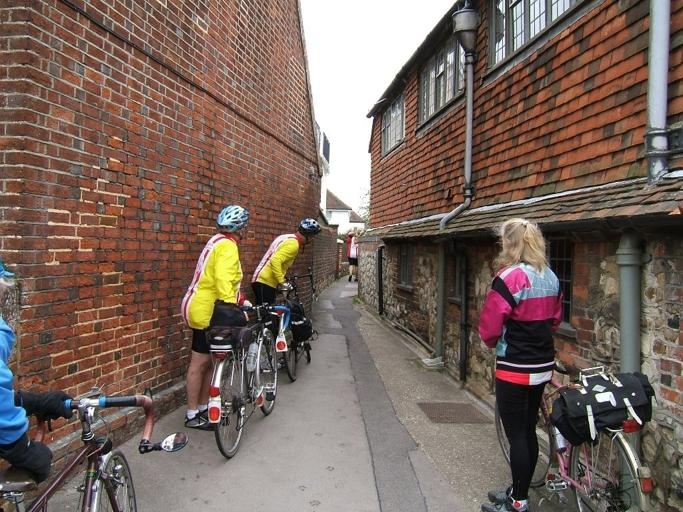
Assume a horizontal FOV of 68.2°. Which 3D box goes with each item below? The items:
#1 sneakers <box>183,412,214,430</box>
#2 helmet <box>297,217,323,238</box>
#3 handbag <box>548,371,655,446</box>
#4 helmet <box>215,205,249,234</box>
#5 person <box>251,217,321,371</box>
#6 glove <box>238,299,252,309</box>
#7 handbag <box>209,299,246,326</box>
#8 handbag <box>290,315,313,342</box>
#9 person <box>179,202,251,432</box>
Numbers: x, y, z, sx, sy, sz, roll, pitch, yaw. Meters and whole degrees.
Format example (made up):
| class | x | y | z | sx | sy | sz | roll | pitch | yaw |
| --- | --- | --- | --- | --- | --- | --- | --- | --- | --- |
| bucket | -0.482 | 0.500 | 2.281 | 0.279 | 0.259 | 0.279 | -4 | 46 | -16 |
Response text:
| class | x | y | z | sx | sy | sz | roll | pitch | yaw |
| --- | --- | --- | --- | --- | --- | --- | --- | --- | --- |
| sneakers | -1.463 | 1.694 | 5.147 | 0.309 | 0.159 | 0.178 | 4 | -5 | -16 |
| helmet | -0.498 | -0.424 | 7.847 | 0.263 | 0.354 | 0.344 | 24 | 24 | 25 |
| handbag | 2.095 | 1.197 | 4.014 | 0.718 | 0.532 | 0.409 | -17 | -18 | 9 |
| helmet | -1.213 | -0.413 | 5.683 | 0.243 | 0.198 | 0.354 | 7 | 19 | 5 |
| person | -0.931 | 0.582 | 8.122 | 1.025 | 1.015 | 2.568 | 8 | -44 | -20 |
| glove | -1.173 | 0.581 | 6.142 | 0.089 | 0.059 | 0.126 | 15 | -18 | -38 |
| handbag | -1.174 | 0.583 | 5.171 | 0.314 | 0.365 | 0.215 | 1 | -2 | -7 |
| handbag | -0.658 | 1.150 | 8.035 | 0.416 | 0.343 | 0.605 | 1 | 1 | -12 |
| person | -1.355 | 0.601 | 5.374 | 0.633 | 2.282 | 0.629 | 0 | 4 | -24 |
